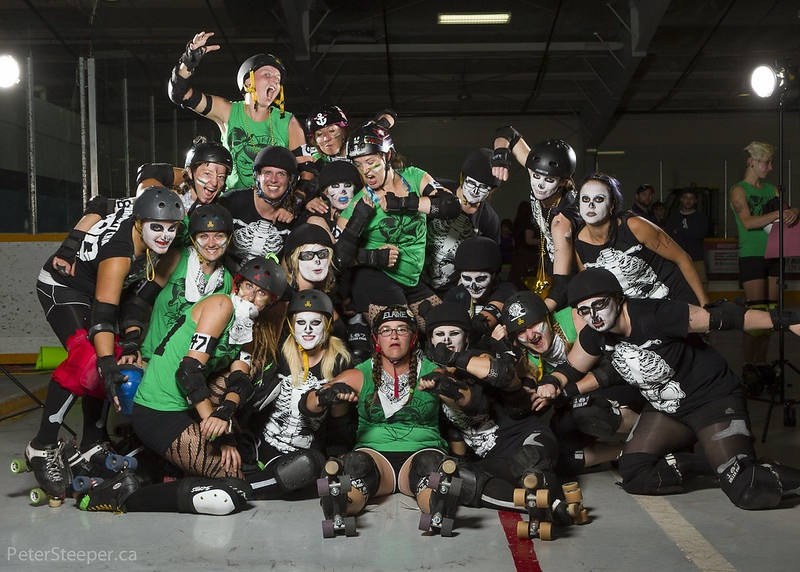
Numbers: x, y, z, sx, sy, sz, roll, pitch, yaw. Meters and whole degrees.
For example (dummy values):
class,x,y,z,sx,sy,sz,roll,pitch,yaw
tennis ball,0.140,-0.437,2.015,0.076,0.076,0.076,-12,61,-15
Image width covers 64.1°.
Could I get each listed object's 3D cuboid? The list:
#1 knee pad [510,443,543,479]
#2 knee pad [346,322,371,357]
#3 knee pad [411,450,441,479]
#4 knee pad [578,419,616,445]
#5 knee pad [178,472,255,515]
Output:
class,x,y,z,sx,sy,sz,roll,pitch,yaw
knee pad,0.859,1.176,4.285,0.174,0.210,0.227,-20,-35,36
knee pad,-0.354,0.489,5.698,0.183,0.299,0.300,1,-31,-1
knee pad,0.172,1.209,4.320,0.188,0.080,0.142,-7,-1,-15
knee pad,1.437,1.044,4.650,0.310,0.131,0.299,4,-3,18
knee pad,-1.228,1.388,4.245,0.395,0.158,0.227,1,-40,3
